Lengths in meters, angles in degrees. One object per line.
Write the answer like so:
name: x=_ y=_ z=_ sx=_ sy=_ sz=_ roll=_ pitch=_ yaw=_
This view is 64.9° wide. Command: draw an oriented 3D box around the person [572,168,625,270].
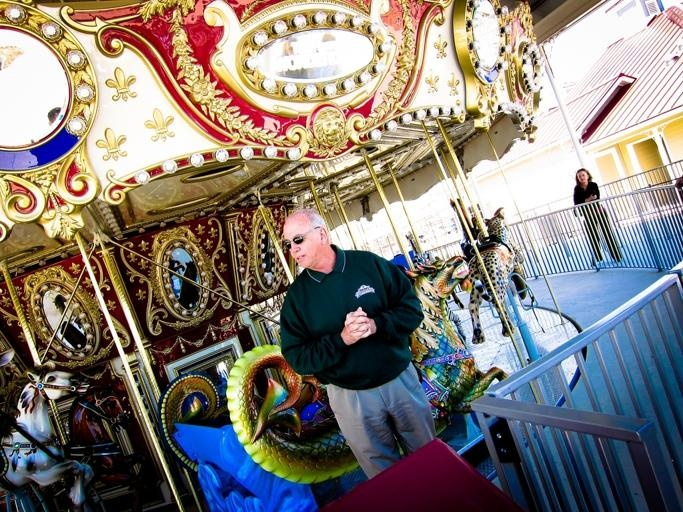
person: x=3.689 y=-0.611 z=7.897 sx=0.415 sy=1.547 sz=0.818 roll=-13 pitch=-2 yaw=22

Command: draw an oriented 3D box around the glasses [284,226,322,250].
glasses: x=-0.237 y=-0.091 z=2.896 sx=0.258 sy=0.103 sz=0.123 roll=-17 pitch=-4 yaw=41

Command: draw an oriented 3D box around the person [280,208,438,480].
person: x=0.073 y=0.443 z=2.879 sx=0.776 sy=1.401 sz=0.309 roll=-12 pitch=-2 yaw=-10
